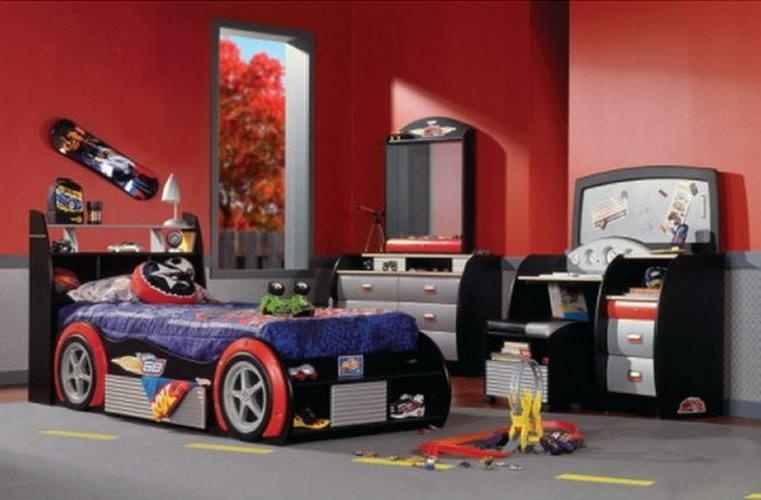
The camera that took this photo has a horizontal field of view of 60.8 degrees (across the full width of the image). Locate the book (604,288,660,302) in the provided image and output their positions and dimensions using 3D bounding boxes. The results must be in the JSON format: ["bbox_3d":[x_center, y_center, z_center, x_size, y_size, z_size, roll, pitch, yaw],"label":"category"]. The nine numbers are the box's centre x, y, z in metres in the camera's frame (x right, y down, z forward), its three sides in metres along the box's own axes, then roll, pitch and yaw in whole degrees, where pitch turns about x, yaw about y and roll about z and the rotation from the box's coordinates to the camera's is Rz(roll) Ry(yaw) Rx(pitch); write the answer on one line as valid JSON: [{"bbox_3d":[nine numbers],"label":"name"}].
[{"bbox_3d":[1.881,0.328,4.813,0.388,0.090,0.144,0,1,33],"label":"book"}]

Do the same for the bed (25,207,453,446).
[{"bbox_3d":[-1.147,0.451,4.751,3.106,1.485,1.130,1,1,32],"label":"bed"}]

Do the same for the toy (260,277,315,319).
[{"bbox_3d":[-0.630,0.324,4.391,0.364,0.207,0.454,0,1,-11],"label":"toy"}]

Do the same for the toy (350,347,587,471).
[{"bbox_3d":[0.677,1.017,3.866,1.641,0.623,0.546,-5,7,-41],"label":"toy"}]

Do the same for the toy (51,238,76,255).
[{"bbox_3d":[-2.593,-0.026,5.340,0.171,0.094,0.166,1,1,2],"label":"toy"}]

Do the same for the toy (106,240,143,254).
[{"bbox_3d":[-2.214,-0.018,5.599,0.259,0.081,0.150,1,0,-8],"label":"toy"}]
